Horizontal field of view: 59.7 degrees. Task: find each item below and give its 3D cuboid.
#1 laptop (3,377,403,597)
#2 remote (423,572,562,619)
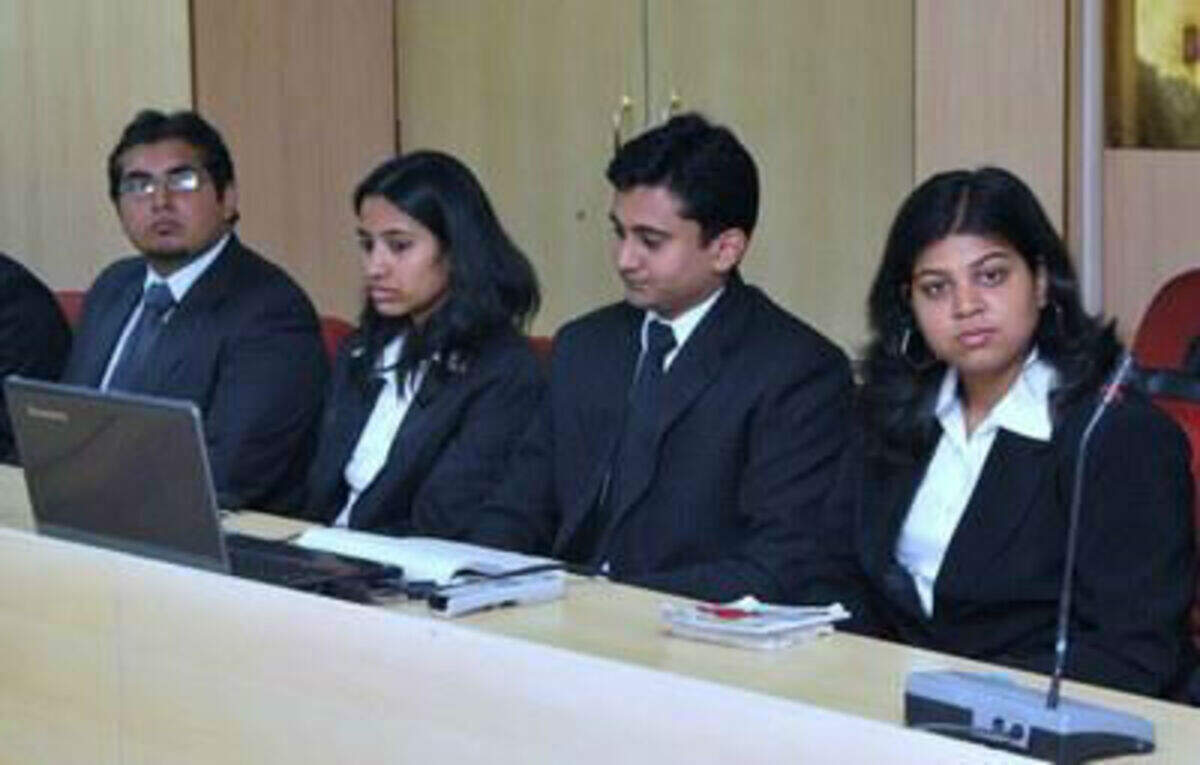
[{"bbox_3d":[-0.798,0.161,1.996,0.620,0.329,0.457,6,9,36],"label":"laptop"},{"bbox_3d":[-0.187,0.373,1.914,0.171,0.038,0.086,-2,-2,-41],"label":"remote"}]
